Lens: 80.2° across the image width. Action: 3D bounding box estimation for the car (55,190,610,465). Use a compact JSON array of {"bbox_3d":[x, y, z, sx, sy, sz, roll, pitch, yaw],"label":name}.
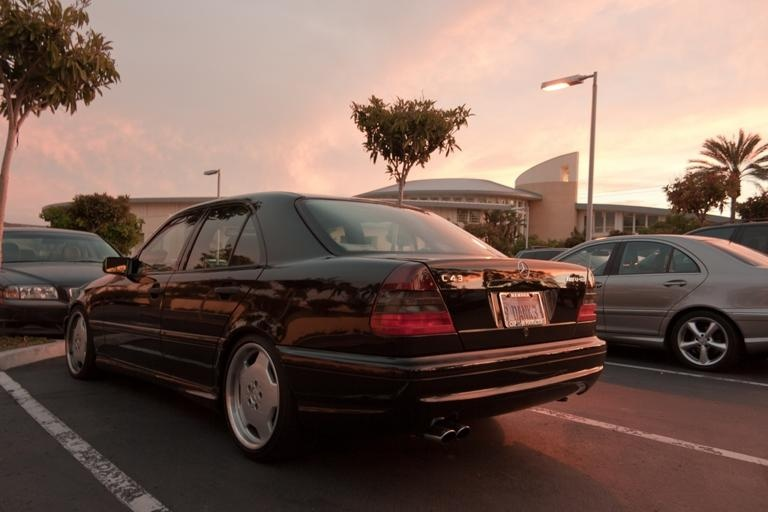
[{"bbox_3d":[-1.019,0.453,4.424,4.696,1.441,2.046,4,1,41],"label":"car"}]
